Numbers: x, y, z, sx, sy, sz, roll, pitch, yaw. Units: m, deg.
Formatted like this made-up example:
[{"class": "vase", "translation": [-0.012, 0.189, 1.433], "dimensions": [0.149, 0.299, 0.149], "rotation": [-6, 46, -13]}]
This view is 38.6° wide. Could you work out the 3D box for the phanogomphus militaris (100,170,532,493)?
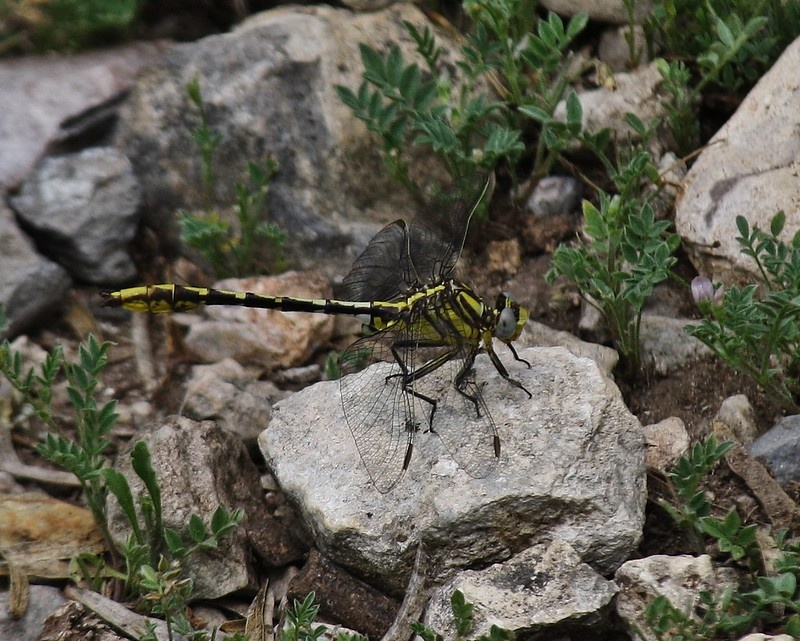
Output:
[{"class": "phanogomphus militaris", "translation": [-0.061, 0.207, 5.030], "dimensions": [1.333, 0.589, 1.300], "rotation": [-23, 77, -2]}]
